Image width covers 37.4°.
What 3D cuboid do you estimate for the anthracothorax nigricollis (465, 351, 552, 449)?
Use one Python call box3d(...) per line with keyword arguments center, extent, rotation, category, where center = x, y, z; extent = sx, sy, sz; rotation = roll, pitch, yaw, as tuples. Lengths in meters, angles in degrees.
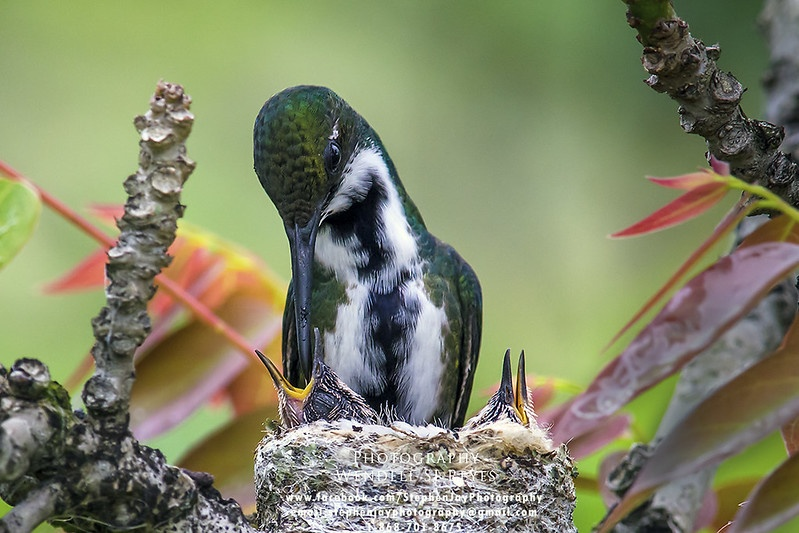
box3d(center=(0.300, 0.337, 3.225), extent=(0.203, 0.190, 0.246), rotation=(5, -87, 23), category="anthracothorax nigricollis")
